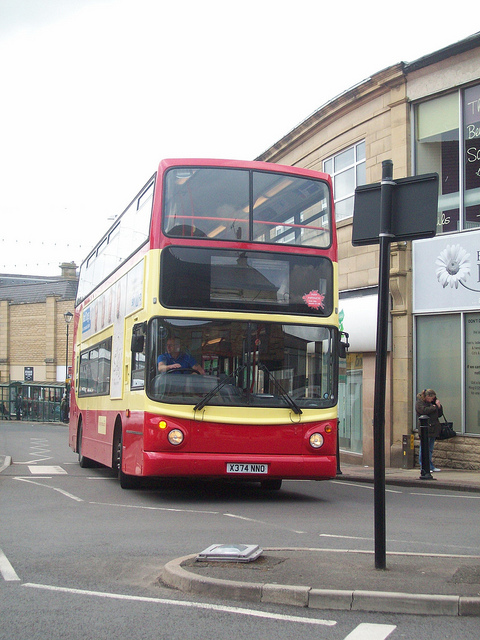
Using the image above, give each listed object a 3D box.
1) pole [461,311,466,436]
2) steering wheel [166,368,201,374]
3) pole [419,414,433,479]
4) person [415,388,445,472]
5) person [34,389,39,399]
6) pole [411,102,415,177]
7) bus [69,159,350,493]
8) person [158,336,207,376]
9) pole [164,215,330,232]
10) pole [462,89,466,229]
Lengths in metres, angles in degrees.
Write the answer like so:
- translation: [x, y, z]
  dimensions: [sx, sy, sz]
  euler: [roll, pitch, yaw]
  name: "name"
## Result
- translation: [5.373, 1.266, 14.803]
  dimensions: [0.105, 2.908, 0.103]
  euler: [-4, -7, 44]
  name: "pole"
- translation: [-0.807, 0.733, 8.837]
  dimensions: [0.456, 0.089, 0.023]
  euler: [2, -5, -5]
  name: "steering wheel"
- translation: [3.860, 2.660, 12.816]
  dimensions: [0.258, 1.302, 0.549]
  euler: [-2, -6, 26]
  name: "pole"
- translation: [4.485, 2.417, 14.502]
  dimensions: [0.846, 1.555, 0.539]
  euler: [6, -7, -45]
  name: "person"
- translation: [-16.020, 5.843, 48.320]
  dimensions: [0.422, 1.037, 0.455]
  euler: [0, -2, -3]
  name: "person"
- translation: [4.656, -4.892, 16.556]
  dimensions: [0.091, 1.975, 0.172]
  euler: [-1, -5, 17]
  name: "pole"
- translation: [-1.783, 0.638, 13.000]
  dimensions: [2.519, 5.359, 8.804]
  euler: [5, -9, -24]
  name: "bus"
- translation: [-0.831, 0.565, 8.964]
  dimensions: [0.560, 0.903, 0.446]
  euler: [-3, -3, -18]
  name: "person"
- translation: [0.154, -1.482, 9.306]
  dimensions: [2.566, 0.079, 0.092]
  euler: [3, -7, -13]
  name: "pole"
- translation: [5.586, -4.014, 15.297]
  dimensions: [0.086, 3.498, 0.091]
  euler: [4, -6, -34]
  name: "pole"
